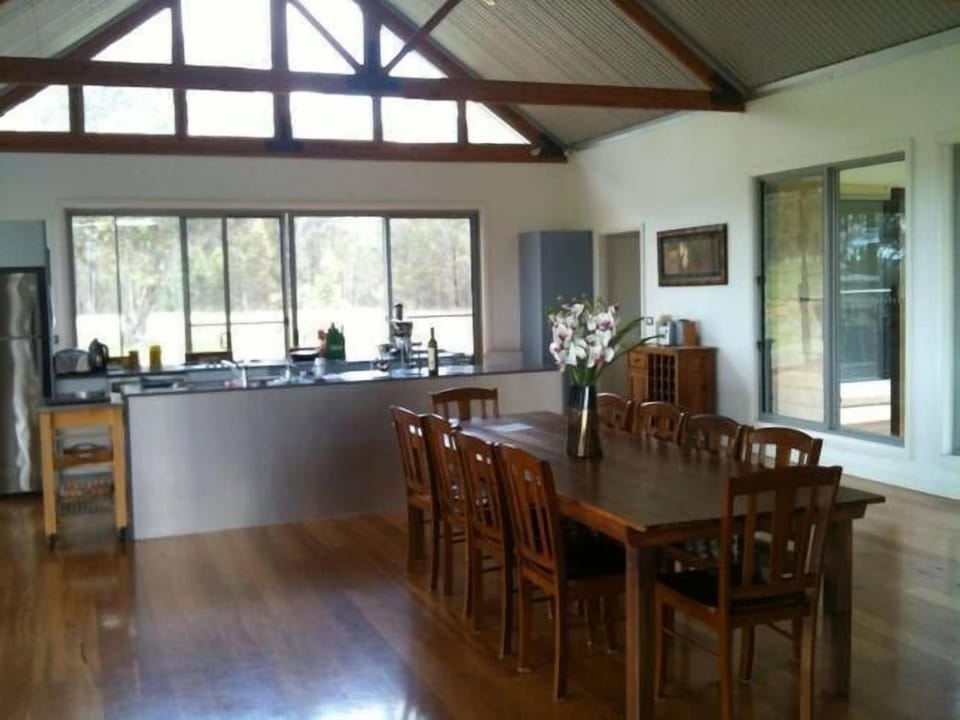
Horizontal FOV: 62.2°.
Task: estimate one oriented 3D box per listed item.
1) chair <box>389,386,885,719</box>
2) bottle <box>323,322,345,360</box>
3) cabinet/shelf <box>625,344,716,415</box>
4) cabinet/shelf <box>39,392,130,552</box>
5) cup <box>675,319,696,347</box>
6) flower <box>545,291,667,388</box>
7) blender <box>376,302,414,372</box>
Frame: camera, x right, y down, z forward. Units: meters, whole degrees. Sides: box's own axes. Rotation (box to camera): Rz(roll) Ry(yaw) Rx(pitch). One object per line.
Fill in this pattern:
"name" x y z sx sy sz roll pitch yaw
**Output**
"chair" 0.854 0.961 4.493 1.273 1.210 2.175 -6 11 -28
"bottle" -1.530 -0.182 8.286 0.214 0.339 0.431 -4 10 -14
"cabinet/shelf" 2.073 0.192 8.423 0.297 0.717 0.719 0 3 -26
"cabinet/shelf" -3.141 0.863 6.318 0.666 1.028 0.734 -3 2 -35
"cup" 2.379 -0.299 9.050 0.245 0.284 0.276 -1 10 2
"flower" 0.664 -0.102 4.581 0.452 0.501 0.504 -8 12 -34
"blender" -0.808 -0.224 7.591 0.376 0.597 0.234 -5 7 1
